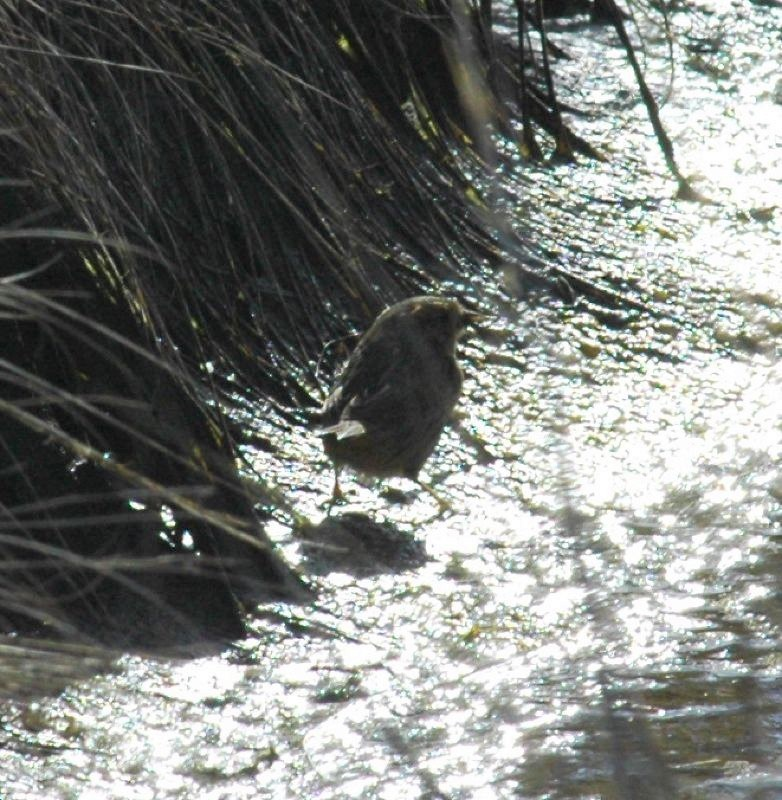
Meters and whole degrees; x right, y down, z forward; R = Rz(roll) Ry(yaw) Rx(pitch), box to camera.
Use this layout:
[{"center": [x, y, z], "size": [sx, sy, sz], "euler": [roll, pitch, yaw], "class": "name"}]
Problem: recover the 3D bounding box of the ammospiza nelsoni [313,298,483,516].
[{"center": [0.011, 0.007, 2.822], "size": [0.317, 0.324, 0.383], "euler": [-15, 21, 13], "class": "ammospiza nelsoni"}]
